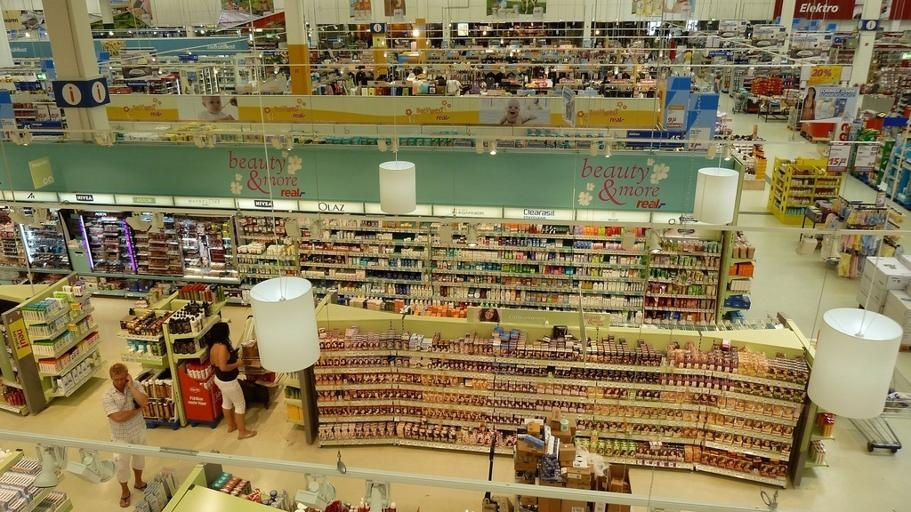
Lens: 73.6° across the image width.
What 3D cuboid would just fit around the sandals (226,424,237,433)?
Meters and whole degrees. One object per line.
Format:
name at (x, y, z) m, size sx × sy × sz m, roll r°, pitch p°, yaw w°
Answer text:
sandals at (-5.203, 4.016, 14.210) m, size 0.274 × 0.171 × 0.095 m, roll 0°, pitch 7°, yaw -17°

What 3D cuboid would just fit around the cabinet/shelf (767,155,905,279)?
cabinet/shelf at (11.766, -1.140, 18.888) m, size 2.693 × 2.166 × 4.675 m, roll 2°, pitch 27°, yaw 7°
